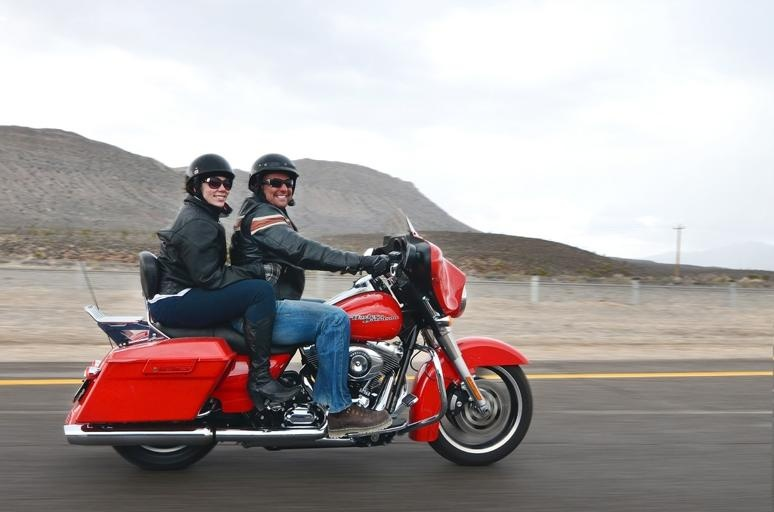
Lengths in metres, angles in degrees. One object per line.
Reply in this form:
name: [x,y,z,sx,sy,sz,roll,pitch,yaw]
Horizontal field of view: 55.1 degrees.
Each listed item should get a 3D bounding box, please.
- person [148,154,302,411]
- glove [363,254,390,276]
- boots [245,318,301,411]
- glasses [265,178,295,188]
person: [-1.685,0.230,7.089,1.089,2.373,1.223,-6,19,-23]
glove: [-0.104,0.089,7.100,0.241,0.199,0.103,1,17,-1]
boots: [-1.088,1.030,7.038,0.500,0.857,0.283,0,18,-7]
glasses: [-1.060,-0.728,7.356,0.181,0.034,0.180,-5,-6,45]
